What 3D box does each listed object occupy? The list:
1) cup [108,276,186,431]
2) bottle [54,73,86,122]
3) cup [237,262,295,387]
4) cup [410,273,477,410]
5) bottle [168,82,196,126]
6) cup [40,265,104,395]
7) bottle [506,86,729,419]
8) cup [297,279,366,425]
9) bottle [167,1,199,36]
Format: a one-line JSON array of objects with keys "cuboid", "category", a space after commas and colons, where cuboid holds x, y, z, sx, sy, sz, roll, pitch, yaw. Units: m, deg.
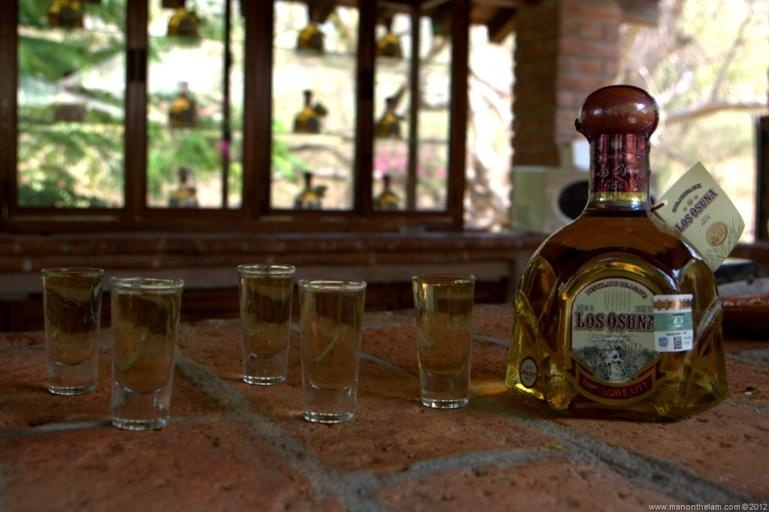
[{"cuboid": [-0.183, 0.075, 0.518, 0.053, 0.111, 0.034, -2, 10, -17], "category": "cup"}, {"cuboid": [-0.238, -0.116, 0.509, 0.025, 0.039, 0.010, 0, -5, -2], "category": "bottle"}, {"cuboid": [-0.111, 0.065, 0.636, 0.050, 0.104, 0.050, 1, 10, 0], "category": "cup"}, {"cuboid": [0.050, 0.074, 0.579, 0.051, 0.110, 0.030, 1, 10, 1], "category": "cup"}, {"cuboid": [-0.165, -0.125, 0.559, 0.021, 0.039, 0.055, -1, 9, -9], "category": "bottle"}, {"cuboid": [-0.278, 0.066, 0.597, 0.051, 0.106, 0.044, -1, 10, -10], "category": "cup"}, {"cuboid": [0.205, -0.003, 0.561, 0.185, 0.273, 0.060, 0, 10, -3], "category": "bottle"}, {"cuboid": [-0.043, 0.078, 0.538, 0.050, 0.108, 0.028, 1, 10, -2], "category": "cup"}, {"cuboid": [-0.164, -0.189, 0.546, 0.024, 0.022, 0.026, -6, 11, -35], "category": "bottle"}]
